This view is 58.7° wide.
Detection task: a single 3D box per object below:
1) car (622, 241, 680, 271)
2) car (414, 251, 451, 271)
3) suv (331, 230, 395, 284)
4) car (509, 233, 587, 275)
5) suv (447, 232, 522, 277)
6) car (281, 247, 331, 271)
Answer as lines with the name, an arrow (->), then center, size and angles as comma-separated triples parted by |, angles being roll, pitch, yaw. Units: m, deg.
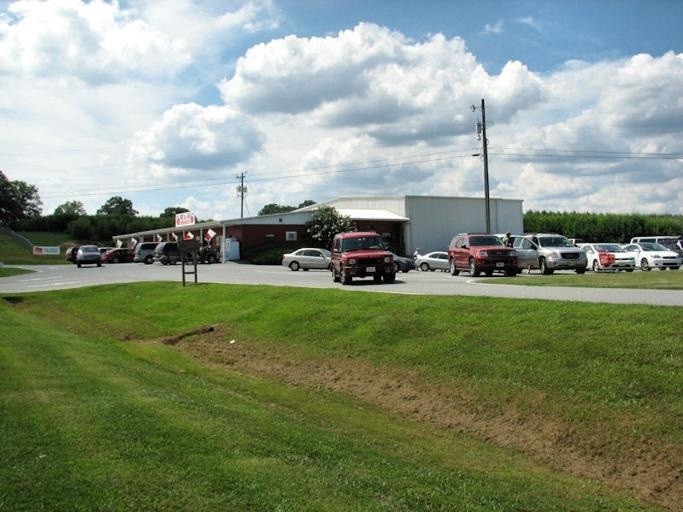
car -> 16.992, -0.018, 33.348 | 1.465, 1.083, 3.211 | 1, -5, -10
car -> 5.565, 0.329, 37.117 | 2.004, 0.770, 0.932 | -3, 0, 20
suv -> 0.641, 0.065, 25.252 | 1.539, 1.487, 2.821 | 0, -4, -16
car -> 9.723, -0.123, 28.895 | 1.847, 1.599, 3.947 | 1, -4, -17
suv -> 6.295, -0.056, 27.832 | 1.582, 1.407, 3.297 | 1, -5, -16
car -> -2.202, 0.190, 39.261 | 3.005, 1.015, 1.385 | -3, 0, 17
